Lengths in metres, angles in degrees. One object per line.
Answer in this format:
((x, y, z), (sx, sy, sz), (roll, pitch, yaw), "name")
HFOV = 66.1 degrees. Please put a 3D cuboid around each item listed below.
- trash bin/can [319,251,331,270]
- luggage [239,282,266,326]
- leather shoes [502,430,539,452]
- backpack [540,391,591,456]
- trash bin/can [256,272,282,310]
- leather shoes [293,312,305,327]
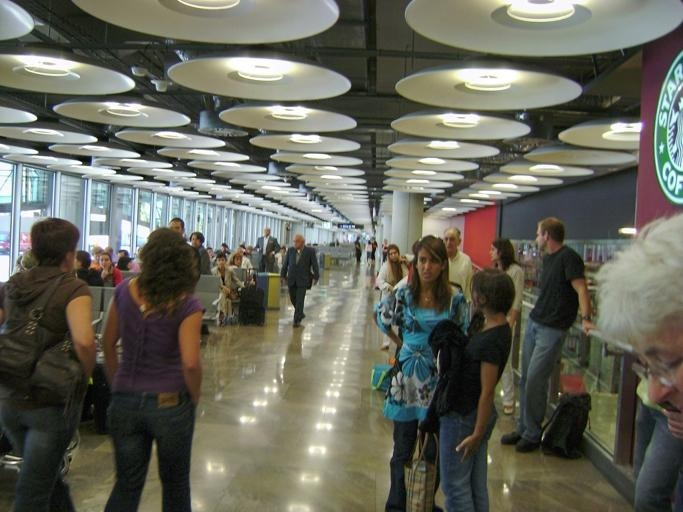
((-1.099, 0.344, 33.948), (0.898, 1.245, 0.941), (0, 2, -1), "trash bin/can")
((-2.115, 1.147, 12.595), (0.657, 1.084, 0.570), (1, 3, -3), "luggage")
((1.843, 1.959, 5.504), (0.380, 0.176, 0.143), (11, 0, 5), "leather shoes")
((2.300, 1.745, 5.403), (0.448, 0.554, 0.312), (22, -7, -4), "backpack")
((-2.053, 1.011, 15.213), (0.879, 1.023, 0.925), (0, 3, -7), "trash bin/can")
((-1.005, 1.492, 12.316), (0.210, 0.308, 0.694), (-1, -10, 3), "leather shoes")
